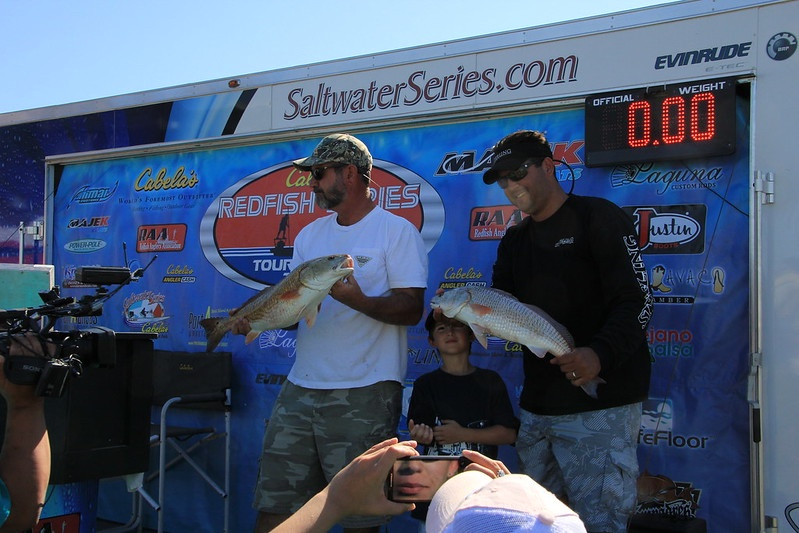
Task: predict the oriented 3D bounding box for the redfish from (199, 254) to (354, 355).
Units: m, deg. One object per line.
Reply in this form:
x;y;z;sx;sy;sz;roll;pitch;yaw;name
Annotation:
-0.810;0.262;4.878;1.041;0.378;0.240;-25;-47;16;redfish

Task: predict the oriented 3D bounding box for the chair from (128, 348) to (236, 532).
-1.796;1.452;5.817;0.876;1.510;0.565;1;2;29;chair

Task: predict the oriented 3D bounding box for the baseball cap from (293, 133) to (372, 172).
-0.403;-0.689;4.590;0.370;0.191;0.257;5;5;-3;baseball cap

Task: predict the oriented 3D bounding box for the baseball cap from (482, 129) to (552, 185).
0.688;-0.674;4.362;0.374;0.193;0.271;-20;-4;-29;baseball cap
